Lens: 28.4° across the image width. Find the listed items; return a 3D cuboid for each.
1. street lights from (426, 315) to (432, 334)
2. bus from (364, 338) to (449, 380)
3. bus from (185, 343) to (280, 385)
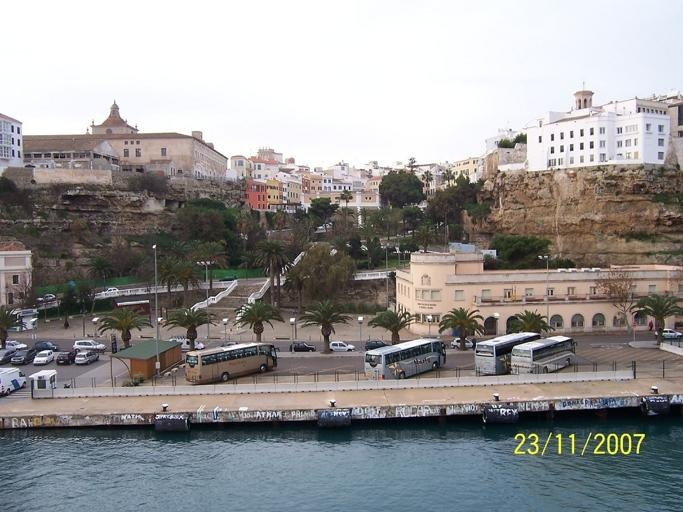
[{"bbox_3d":[11.493,8.880,173.597,0.582,2.565,0.311,-1,2,24],"label":"street lights"},{"bbox_3d":[7.669,11.889,157.142,10.785,3.607,3.509,-10,11,-32],"label":"bus"},{"bbox_3d":[-12.640,12.458,156.444,10.219,4.075,2.261,-3,2,-24],"label":"bus"}]
